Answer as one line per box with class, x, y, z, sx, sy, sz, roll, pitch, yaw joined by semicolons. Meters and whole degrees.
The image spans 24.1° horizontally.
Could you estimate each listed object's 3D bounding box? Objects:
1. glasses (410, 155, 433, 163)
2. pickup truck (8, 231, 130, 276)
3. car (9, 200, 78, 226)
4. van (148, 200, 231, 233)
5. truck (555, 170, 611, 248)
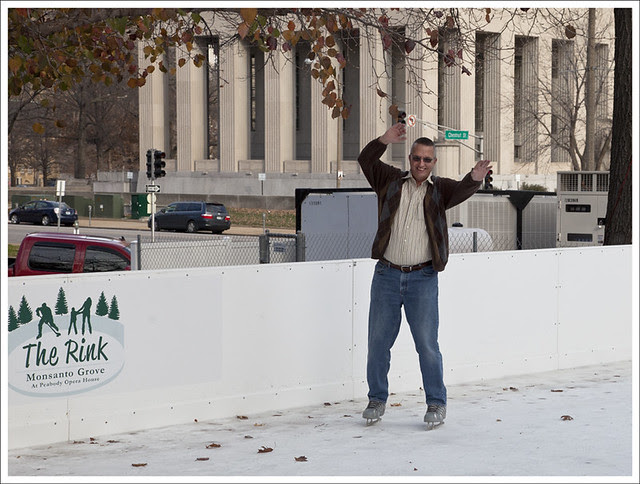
glasses;1.441;-1.124;20.311;0.283;0.092;0.031;-2;2;0
pickup truck;-4.323;0.196;26.036;1.441;0.848;1.074;-3;6;-1
car;-11.246;-1.146;61.194;2.783;0.985;1.316;5;4;36
van;-4.843;-0.910;55.590;2.673;0.850;1.236;3;3;37
truck;6.373;-0.582;33.727;1.158;1.993;1.140;5;1;-23
